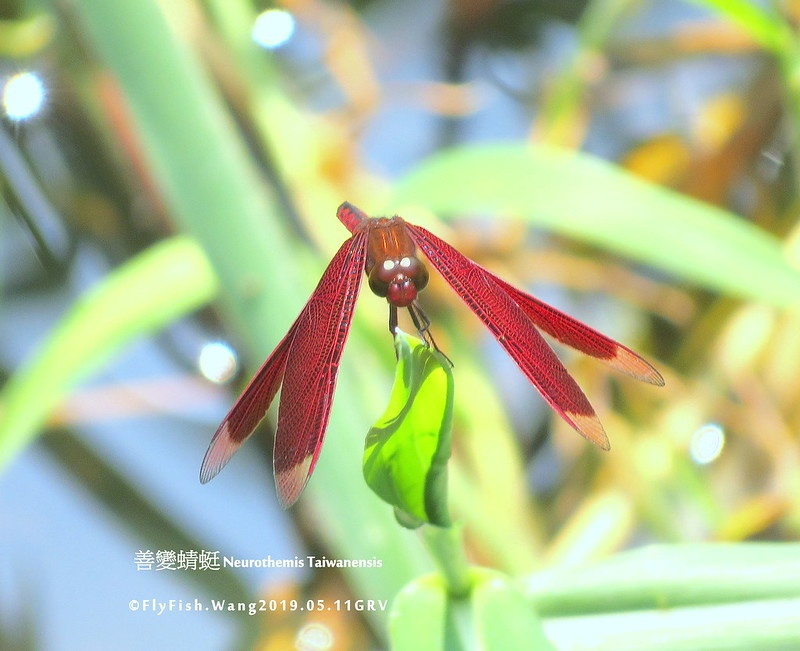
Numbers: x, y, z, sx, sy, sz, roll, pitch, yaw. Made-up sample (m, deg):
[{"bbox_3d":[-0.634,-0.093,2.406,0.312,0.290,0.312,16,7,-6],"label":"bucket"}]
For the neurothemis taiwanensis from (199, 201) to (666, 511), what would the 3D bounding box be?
[{"bbox_3d":[0.001,-0.019,0.695,0.360,0.088,0.321,-11,49,-9],"label":"neurothemis taiwanensis"}]
